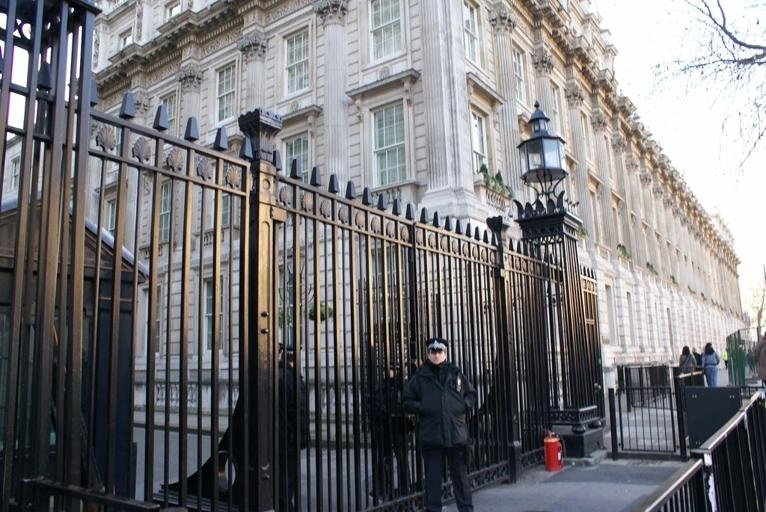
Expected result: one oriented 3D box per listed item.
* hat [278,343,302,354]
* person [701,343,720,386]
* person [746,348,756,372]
[{"bbox_3d":[-0.996,0.983,6.862,0.263,0.073,0.260,-6,-11,39],"label":"hat"},{"bbox_3d":[10.598,3.563,20.738,0.491,1.672,0.469,-3,9,18],"label":"person"},{"bbox_3d":[11.424,3.210,19.924,0.148,0.613,0.719,-9,-18,21],"label":"person"}]
